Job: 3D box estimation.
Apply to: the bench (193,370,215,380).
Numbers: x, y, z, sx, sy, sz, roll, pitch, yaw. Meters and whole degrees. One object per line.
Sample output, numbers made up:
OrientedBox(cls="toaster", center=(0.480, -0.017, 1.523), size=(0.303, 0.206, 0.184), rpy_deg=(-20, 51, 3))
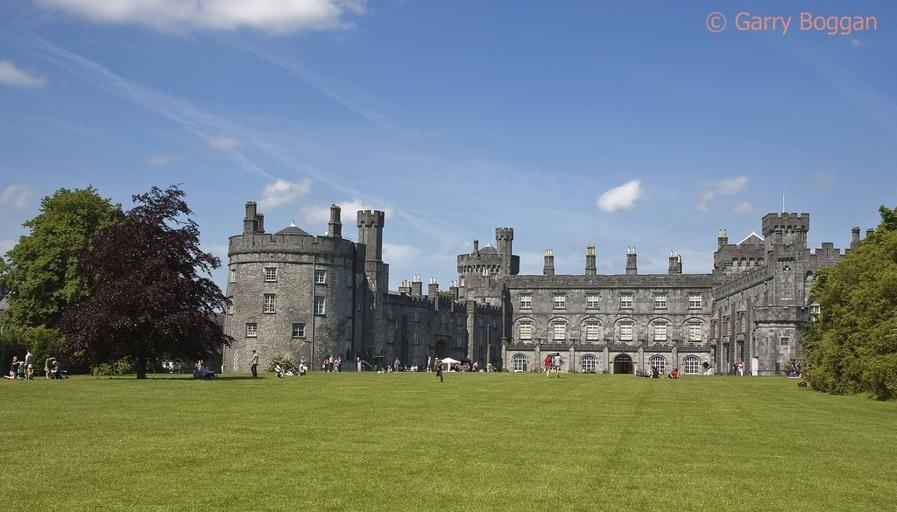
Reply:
OrientedBox(cls="bench", center=(-17.629, 8.475, 55.645), size=(1.531, 0.578, 2.431), rpy_deg=(3, -11, -17))
